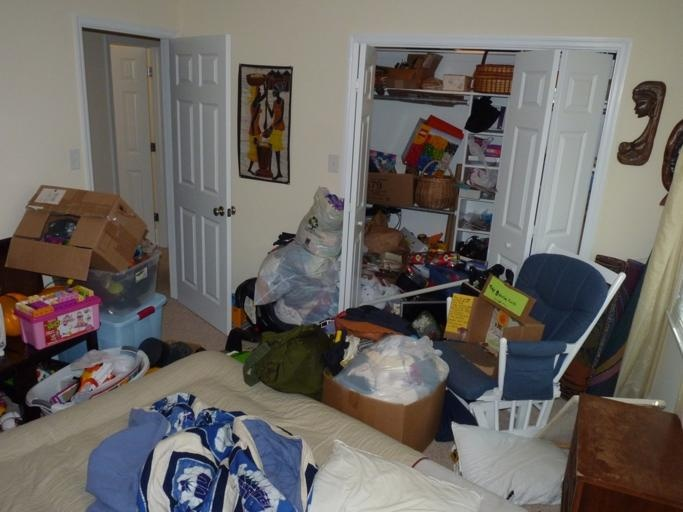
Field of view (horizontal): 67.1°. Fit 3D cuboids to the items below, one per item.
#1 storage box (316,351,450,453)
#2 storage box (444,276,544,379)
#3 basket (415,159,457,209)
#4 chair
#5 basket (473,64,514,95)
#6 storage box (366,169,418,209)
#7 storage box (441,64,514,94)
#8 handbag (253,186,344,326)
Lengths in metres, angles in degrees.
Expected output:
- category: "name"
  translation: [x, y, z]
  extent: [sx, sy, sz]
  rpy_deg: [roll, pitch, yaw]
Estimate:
- category: "storage box"
  translation: [0.215, 0.808, 2.903]
  extent: [0.490, 0.320, 0.495]
  rpy_deg: [23, 28, 32]
- category: "storage box"
  translation: [0.972, 0.463, 3.260]
  extent: [0.306, 0.440, 0.428]
  rpy_deg: [3, 25, -28]
- category: "basket"
  translation: [0.875, -0.672, 4.854]
  extent: [0.410, 0.429, 0.421]
  rpy_deg: [-4, 13, -28]
- category: "chair"
  translation: [1.094, 0.555, 3.363]
  extent: [1.008, 1.093, 0.772]
  rpy_deg: [-4, 20, -23]
- category: "basket"
  translation: [1.248, -1.520, 4.237]
  extent: [0.278, 0.186, 0.276]
  rpy_deg: [14, 33, 23]
- category: "storage box"
  translation: [0.450, -0.609, 4.870]
  extent: [0.351, 0.237, 0.364]
  rpy_deg: [5, 2, 6]
- category: "storage box"
  translation: [1.159, -1.442, 4.380]
  extent: [0.454, 0.177, 0.331]
  rpy_deg: [10, 19, 28]
- category: "handbag"
  translation: [-0.213, 0.069, 4.040]
  extent: [0.751, 0.965, 0.371]
  rpy_deg: [11, -9, 36]
